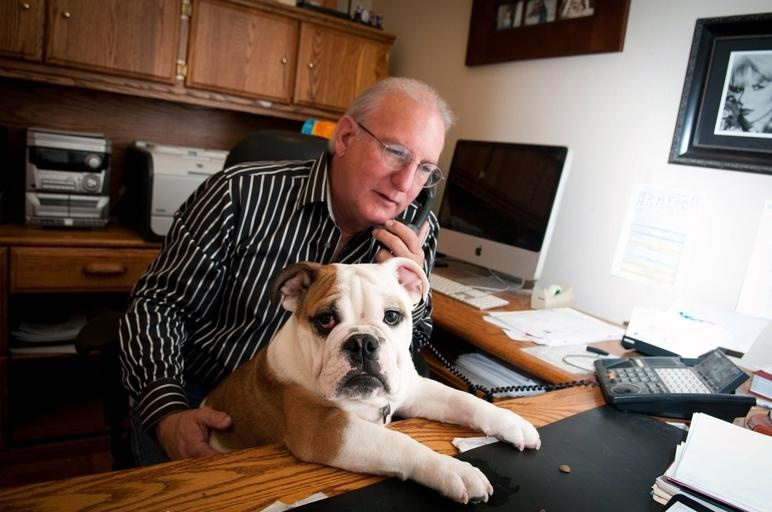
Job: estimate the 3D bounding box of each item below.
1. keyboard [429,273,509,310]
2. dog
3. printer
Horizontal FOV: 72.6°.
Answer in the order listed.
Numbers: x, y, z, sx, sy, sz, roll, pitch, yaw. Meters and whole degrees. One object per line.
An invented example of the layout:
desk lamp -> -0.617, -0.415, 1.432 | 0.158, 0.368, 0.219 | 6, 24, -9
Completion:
keyboard -> 0.320, 0.147, 2.587 | 0.332, 0.141, 0.013 | 23, 55, 22
dog -> -0.089, 0.271, 1.420 | 0.860, 0.423, 0.514 | 9, 16, 44
printer -> -1.047, -0.317, 2.554 | 0.548, 0.507, 0.365 | 0, 16, -36
